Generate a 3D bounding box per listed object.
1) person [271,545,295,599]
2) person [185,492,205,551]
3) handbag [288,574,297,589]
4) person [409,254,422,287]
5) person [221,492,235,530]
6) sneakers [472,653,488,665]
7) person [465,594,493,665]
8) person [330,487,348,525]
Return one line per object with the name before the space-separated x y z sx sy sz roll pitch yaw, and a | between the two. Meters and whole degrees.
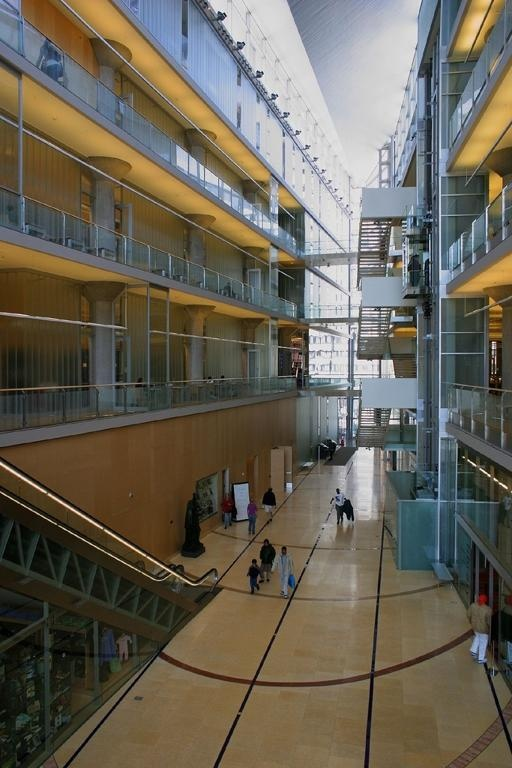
person | 0.556 3.885 12.009 0.413 1.184 0.397 2 20 9
person | -1.632 3.607 14.557 0.406 1.422 0.650 0 -2 22
handbag | 0.750 4.216 12.302 0.131 0.317 0.308 2 37 -1
person | 4.390 -3.156 16.126 0.108 0.894 0.472 1 -2 -29
person | -0.874 3.927 18.130 0.414 1.091 1.441 1 -2 -3
sneakers | 3.414 4.229 8.880 0.068 0.118 0.230 1 -3 -11
person | 3.442 3.728 8.885 0.384 1.031 0.443 0 6 4
person | 2.824 4.254 19.952 0.759 1.964 0.654 1 43 10
